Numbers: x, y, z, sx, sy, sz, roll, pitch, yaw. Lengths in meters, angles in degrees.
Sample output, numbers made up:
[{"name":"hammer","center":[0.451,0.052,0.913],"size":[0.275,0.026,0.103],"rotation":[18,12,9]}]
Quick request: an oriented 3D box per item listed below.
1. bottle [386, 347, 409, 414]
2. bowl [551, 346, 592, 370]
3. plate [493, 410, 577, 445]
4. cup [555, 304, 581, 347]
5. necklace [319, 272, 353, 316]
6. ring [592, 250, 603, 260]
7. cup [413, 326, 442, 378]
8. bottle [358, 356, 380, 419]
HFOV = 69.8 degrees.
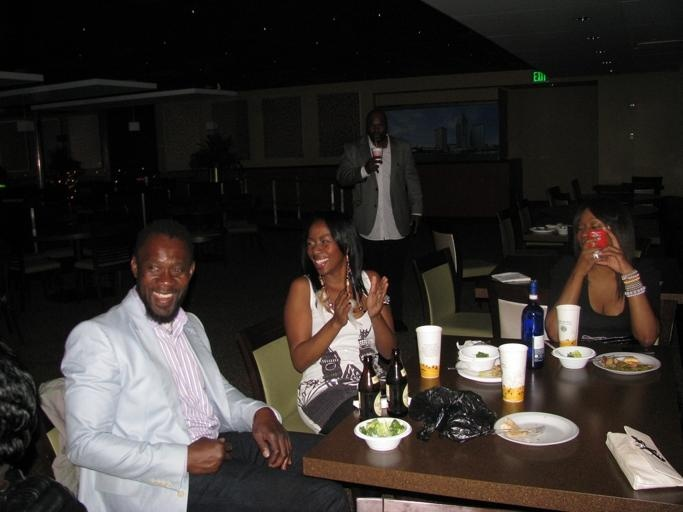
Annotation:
[{"name":"bottle","center":[0.187,0.429,1.669],"size":[0.101,0.224,0.105],"rotation":[-2,2,0]},{"name":"bowl","center":[0.902,0.385,1.897],"size":[0.098,0.037,0.095],"rotation":[-1,7,0]},{"name":"plate","center":[0.567,0.506,1.426],"size":[0.236,0.026,0.251],"rotation":[-4,1,17]},{"name":"cup","center":[0.931,0.294,2.034],"size":[0.103,0.166,0.108],"rotation":[0,1,0]},{"name":"necklace","center":[-0.036,0.159,2.184],"size":[0.131,0.176,0.061],"rotation":[-4,-28,-15]},{"name":"ring","center":[1.192,-0.007,2.285],"size":[0.036,0.038,0.009],"rotation":[-6,-14,30]},{"name":"cup","center":[0.329,0.367,1.881],"size":[0.116,0.195,0.123],"rotation":[-2,5,0]},{"name":"bottle","center":[0.089,0.441,1.631],"size":[0.068,0.215,0.068],"rotation":[-2,7,0]}]
